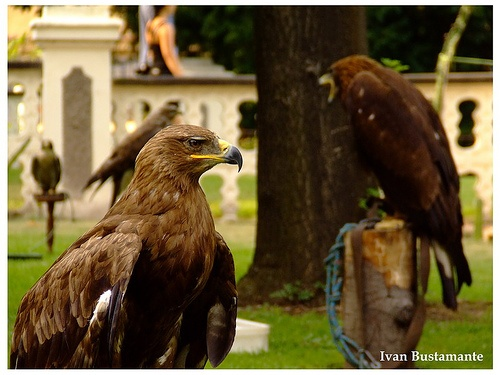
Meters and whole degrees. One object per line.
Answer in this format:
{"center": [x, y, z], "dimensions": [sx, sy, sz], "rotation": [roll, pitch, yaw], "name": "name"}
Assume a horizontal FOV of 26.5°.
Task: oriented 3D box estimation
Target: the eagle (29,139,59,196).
{"center": [-2.998, -0.364, 15.752], "dimensions": [0.372, 0.726, 0.350], "rotation": [-1, -3, -7], "name": "eagle"}

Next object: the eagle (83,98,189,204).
{"center": [-1.874, -0.632, 16.650], "dimensions": [2.043, 0.830, 2.187], "rotation": [-35, 13, 1], "name": "eagle"}

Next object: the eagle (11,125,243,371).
{"center": [-1.114, 0.613, 10.605], "dimensions": [2.007, 2.507, 0.599], "rotation": [0, 0, -15], "name": "eagle"}

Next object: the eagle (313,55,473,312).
{"center": [1.730, -0.229, 11.188], "dimensions": [1.186, 2.723, 1.812], "rotation": [2, 3, 39], "name": "eagle"}

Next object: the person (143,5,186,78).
{"center": [-1.670, -2.906, 20.632], "dimensions": [0.771, 1.407, 0.846], "rotation": [0, 0, -26], "name": "person"}
